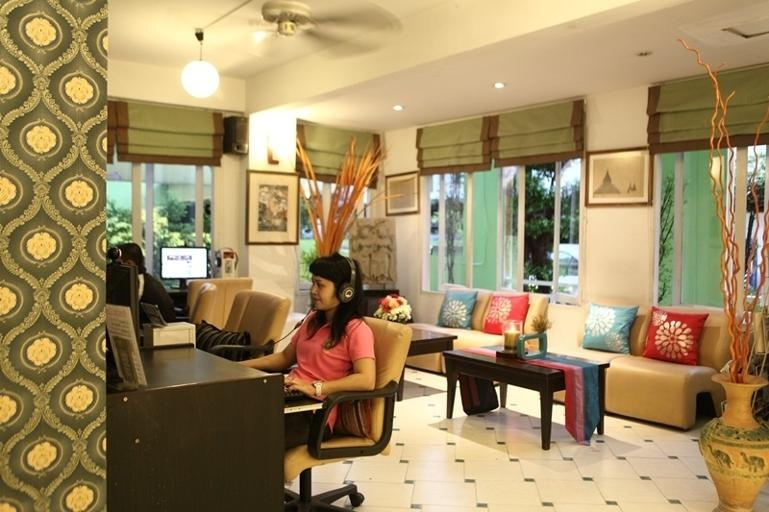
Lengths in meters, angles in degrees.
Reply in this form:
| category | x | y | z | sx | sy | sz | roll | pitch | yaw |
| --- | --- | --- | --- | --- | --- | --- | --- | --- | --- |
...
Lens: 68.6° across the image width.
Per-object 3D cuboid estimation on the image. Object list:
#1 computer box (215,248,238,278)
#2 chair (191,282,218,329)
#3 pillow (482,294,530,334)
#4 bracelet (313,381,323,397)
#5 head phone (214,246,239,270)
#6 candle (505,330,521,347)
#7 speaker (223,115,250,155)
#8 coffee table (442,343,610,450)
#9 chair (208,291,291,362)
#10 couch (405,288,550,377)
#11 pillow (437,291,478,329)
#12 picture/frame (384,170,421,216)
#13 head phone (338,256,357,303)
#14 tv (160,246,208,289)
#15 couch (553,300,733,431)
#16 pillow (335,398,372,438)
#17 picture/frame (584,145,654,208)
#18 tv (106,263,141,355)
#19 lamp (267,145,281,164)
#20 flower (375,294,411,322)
| category | x | y | z | sx | sy | sz | roll | pitch | yaw |
| --- | --- | --- | --- | --- | --- | --- | --- | --- | --- |
| computer box | -1.980 | 0.096 | 7.129 | 0.267 | 0.368 | 0.248 | -3 | 7 | -25 |
| chair | -1.562 | 0.425 | 4.852 | 0.130 | 0.275 | 0.363 | 18 | -23 | -18 |
| pillow | 1.445 | 0.680 | 6.682 | 0.502 | 0.465 | 0.403 | 3 | 7 | 24 |
| bracelet | -0.342 | 0.684 | 2.874 | 0.044 | 0.072 | 0.068 | 1 | 1 | -7 |
| head phone | -1.950 | 0.030 | 7.121 | 0.273 | 0.283 | 0.229 | -1 | -1 | 32 |
| candle | 1.118 | 0.728 | 4.916 | 0.131 | 0.146 | 0.133 | 2 | -8 | 16 |
| speaker | -1.879 | -1.502 | 7.075 | 0.227 | 0.485 | 0.362 | -6 | 9 | -43 |
| coffee table | 1.212 | 1.185 | 4.963 | 1.246 | 0.642 | 0.785 | 5 | 8 | 44 |
| chair | -1.010 | 0.504 | 4.140 | 0.427 | 0.623 | 0.540 | 1 | -4 | 44 |
| couch | 1.166 | 0.943 | 6.709 | 0.972 | 1.121 | 1.728 | 10 | -9 | -39 |
| pillow | 0.923 | 0.692 | 7.059 | 0.213 | 0.368 | 0.454 | -1 | 0 | -37 |
| picture/frame | 0.278 | -0.921 | 8.266 | 0.703 | 0.717 | 0.034 | 2 | 3 | 44 |
| head phone | -0.213 | 0.146 | 3.143 | 0.107 | 0.285 | 0.240 | 1 | -5 | -20 |
| tv | -2.389 | 0.137 | 6.701 | 0.518 | 0.377 | 0.075 | 1 | -2 | -25 |
| couch | 2.547 | 1.155 | 5.471 | 0.970 | 1.132 | 1.852 | 6 | -6 | -38 |
| pillow | -0.163 | 0.858 | 3.008 | 0.243 | 0.242 | 0.088 | 0 | -6 | 5 |
| picture/frame | 2.568 | -0.860 | 6.118 | 0.724 | 0.610 | 0.057 | 1 | 1 | 42 |
| tv | -1.132 | 0.233 | 2.431 | 0.044 | 0.399 | 0.394 | 2 | -4 | -40 |
| lamp | -1.431 | -1.259 | 7.221 | 0.046 | 0.200 | 0.182 | -3 | 9 | 28 |
| flower | 0.092 | 0.519 | 5.528 | 0.294 | 0.250 | 0.293 | -1 | 5 | -8 |
